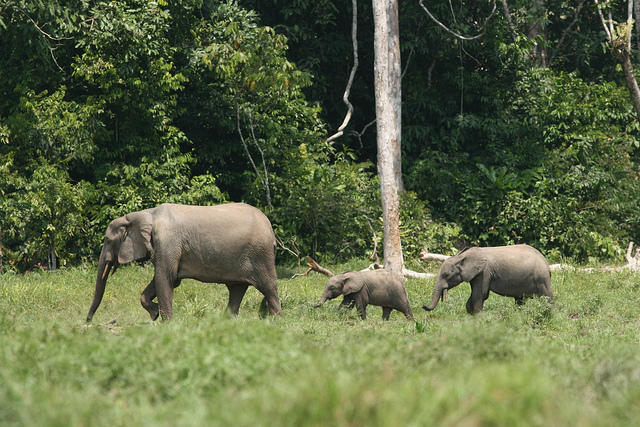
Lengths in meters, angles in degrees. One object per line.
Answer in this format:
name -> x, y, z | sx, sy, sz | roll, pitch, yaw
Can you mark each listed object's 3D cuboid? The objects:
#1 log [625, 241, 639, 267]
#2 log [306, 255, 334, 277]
log -> 10.104, 1.356, 35.848 | 0.289, 0.290, 1.054 | -6, 21, 14
log -> 0.019, 1.639, 33.437 | 0.248, 0.416, 1.065 | -9, -29, 34
